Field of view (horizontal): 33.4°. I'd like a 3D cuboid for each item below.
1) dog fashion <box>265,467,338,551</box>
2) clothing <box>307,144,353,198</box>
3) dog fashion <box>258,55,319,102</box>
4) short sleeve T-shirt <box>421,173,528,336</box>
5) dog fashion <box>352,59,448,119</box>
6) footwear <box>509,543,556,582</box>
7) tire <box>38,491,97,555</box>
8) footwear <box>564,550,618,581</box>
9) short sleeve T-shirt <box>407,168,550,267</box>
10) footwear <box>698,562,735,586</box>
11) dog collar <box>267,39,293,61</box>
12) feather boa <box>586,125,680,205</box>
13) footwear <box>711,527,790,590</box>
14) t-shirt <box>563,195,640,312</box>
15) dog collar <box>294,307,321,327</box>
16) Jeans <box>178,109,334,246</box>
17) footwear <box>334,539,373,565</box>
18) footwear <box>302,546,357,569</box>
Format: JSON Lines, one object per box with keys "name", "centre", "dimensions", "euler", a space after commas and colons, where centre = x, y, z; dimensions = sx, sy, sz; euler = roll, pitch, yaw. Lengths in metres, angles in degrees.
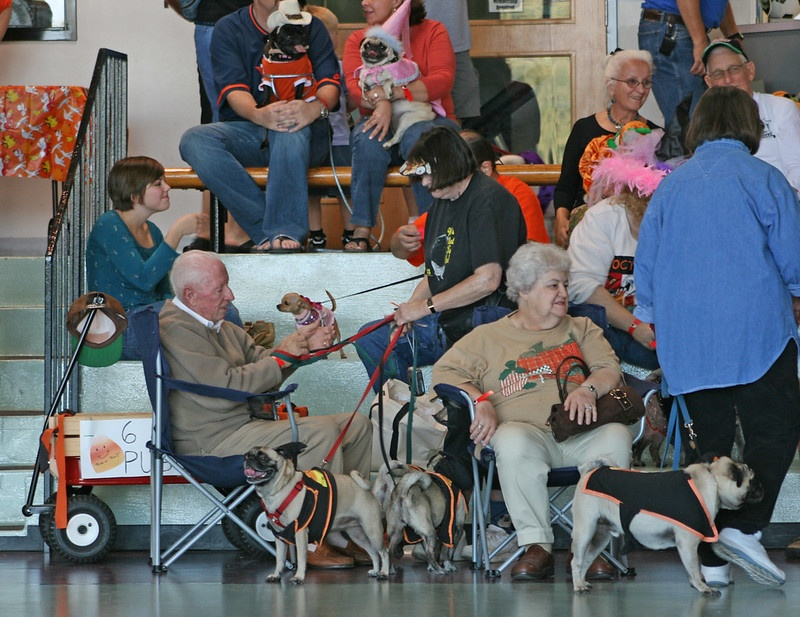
{"name": "dog fashion", "centre": [-0.382, 0.851, 5.729], "dimensions": [0.324, 0.325, 0.245], "euler": [9, -23, 8]}
{"name": "clothing", "centre": [-0.361, -0.784, 7.733], "dimensions": [0.295, 0.269, 0.068], "euler": [1, -8, 3]}
{"name": "dog fashion", "centre": [-0.610, -1.247, 7.519], "dimensions": [0.361, 0.420, 0.252], "euler": [-2, 2, -5]}
{"name": "short sleeve T-shirt", "centre": [0.345, -0.231, 6.138], "dimensions": [0.432, 0.729, 0.719], "euler": [-9, 6, -21]}
{"name": "dog fashion", "centre": [-0.030, -1.232, 7.382], "dimensions": [0.313, 0.191, 0.401], "euler": [-25, -46, 27]}
{"name": "footwear", "centre": [0.559, 1.070, 5.597], "dimensions": [0.096, 0.095, 0.227], "euler": [-1, -3, 32]}
{"name": "tire", "centre": [-1.450, 1.003, 6.107], "dimensions": [0.272, 0.259, 0.310], "euler": [21, 0, -6]}
{"name": "footwear", "centre": [0.855, 1.110, 5.755], "dimensions": [0.277, 0.175, 0.105], "euler": [-2, -3, 9]}
{"name": "short sleeve T-shirt", "centre": [0.422, -0.497, 6.707], "dimensions": [0.702, 0.454, 0.474], "euler": [2, 3, 37]}
{"name": "footwear", "centre": [1.280, 1.083, 5.439], "dimensions": [0.084, 0.094, 0.230], "euler": [-4, -14, 15]}
{"name": "dog collar", "centre": [-0.656, -1.420, 7.355], "dimensions": [0.129, 0.105, 0.093], "euler": [-2, 17, -4]}
{"name": "feather boa", "centre": [1.129, -0.691, 6.541], "dimensions": [0.205, 0.370, 0.380], "euler": [19, -27, -36]}
{"name": "footwear", "centre": [1.421, 1.034, 5.473], "dimensions": [0.168, 0.249, 0.090], "euler": [-54, 1, -42]}
{"name": "t-shirt", "centre": [0.972, -0.241, 6.356], "dimensions": [0.301, 0.487, 0.582], "euler": [1, 5, 27]}
{"name": "dog collar", "centre": [-0.465, 0.061, 6.640], "dimensions": [0.122, 0.069, 0.097], "euler": [-17, 9, 36]}
{"name": "Jeans", "centre": [-0.785, -0.745, 7.387], "dimensions": [0.587, 0.307, 0.848], "euler": [4, 32, 6]}
{"name": "footwear", "centre": [-0.194, 1.104, 6.011], "dimensions": [0.206, 0.121, 0.070], "euler": [-4, 22, 17]}
{"name": "footwear", "centre": [-0.309, 1.109, 5.939], "dimensions": [0.231, 0.093, 0.085], "euler": [-2, -1, 14]}
